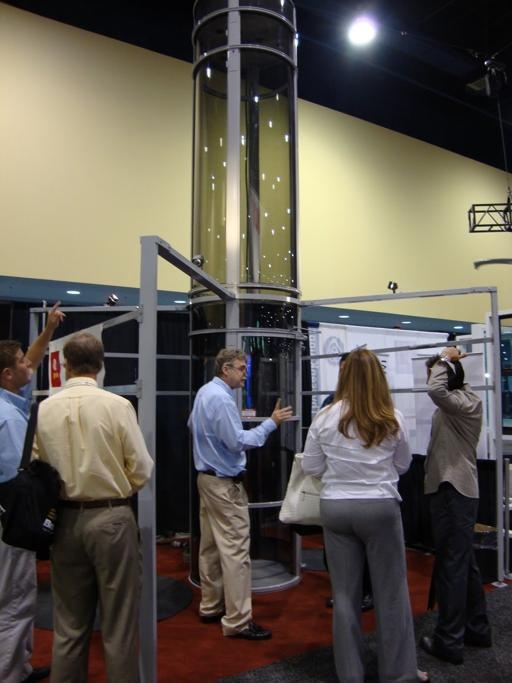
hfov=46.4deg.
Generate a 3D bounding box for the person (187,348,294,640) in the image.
[{"bbox_3d":[-0.124,0.808,3.390,0.374,1.547,0.645,2,-5,-32],"label":"person"}]

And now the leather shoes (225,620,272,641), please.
[{"bbox_3d":[-0.036,1.515,3.159,0.228,0.109,0.092,-1,-4,3],"label":"leather shoes"}]
